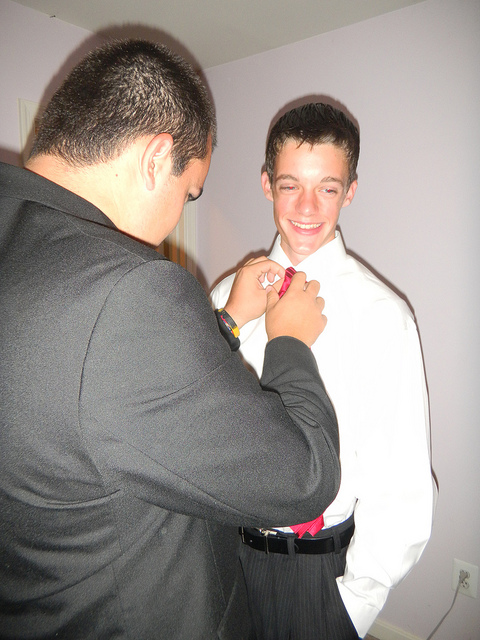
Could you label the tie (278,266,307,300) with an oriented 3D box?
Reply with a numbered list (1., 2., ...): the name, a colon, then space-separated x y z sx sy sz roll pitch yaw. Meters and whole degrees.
1. tie: 0.113 -0.093 1.248 0.030 0.084 0.078 16 -6 45
